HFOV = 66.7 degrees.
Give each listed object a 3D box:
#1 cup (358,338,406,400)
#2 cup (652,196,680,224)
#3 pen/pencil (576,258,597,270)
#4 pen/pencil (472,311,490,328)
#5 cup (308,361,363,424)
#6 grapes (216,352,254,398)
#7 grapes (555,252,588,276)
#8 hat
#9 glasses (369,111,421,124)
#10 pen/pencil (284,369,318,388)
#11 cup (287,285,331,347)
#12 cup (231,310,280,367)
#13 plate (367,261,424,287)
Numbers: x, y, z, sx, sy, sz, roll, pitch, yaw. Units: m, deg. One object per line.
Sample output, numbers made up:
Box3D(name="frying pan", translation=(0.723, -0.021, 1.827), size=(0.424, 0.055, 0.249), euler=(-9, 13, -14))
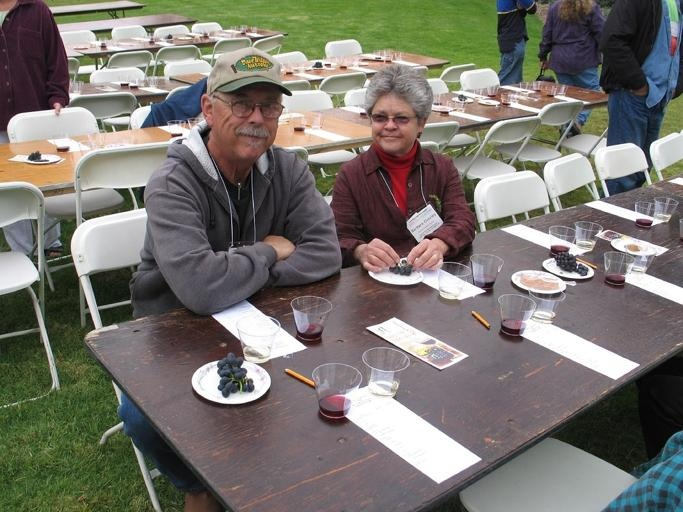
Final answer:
Box3D(name="cup", translation=(0.142, 0.400, 1.837), size=(0.154, 0.114, 0.155), euler=(3, 18, -1))
Box3D(name="cup", translation=(2.122, -0.311, 3.420), size=(0.115, 0.140, 0.179), euler=(22, 34, 34))
Box3D(name="pen/pencil", translation=(1.282, 0.044, 2.724), size=(0.019, 0.023, 0.132), euler=(2, 18, -21))
Box3D(name="pen/pencil", translation=(0.590, 0.268, 2.220), size=(0.027, 0.026, 0.118), euler=(-19, 24, -13))
Box3D(name="cup", translation=(-0.014, 0.435, 1.703), size=(0.157, 0.126, 0.163), euler=(7, 24, -3))
Box3D(name="grapes", translation=(-0.363, 0.395, 1.748), size=(0.117, 0.069, 0.153), euler=(-13, 37, -25))
Box3D(name="grapes", translation=(1.172, 0.030, 2.674), size=(0.079, 0.074, 0.165), euler=(-6, 25, -26))
Box3D(name="hat", translation=(-0.428, -0.806, 2.320), size=(0.228, 0.159, 0.304), euler=(-8, 8, -40))
Box3D(name="glasses", translation=(0.305, -0.803, 3.042), size=(0.277, 0.064, 0.099), euler=(4, 28, 7))
Box3D(name="pen/pencil", translation=(-0.141, 0.427, 1.805), size=(0.146, 0.021, 0.024), euler=(25, 20, 24))
Box3D(name="cup", translation=(-0.120, 0.237, 2.033), size=(0.163, 0.142, 0.171), euler=(4, 18, -1))
Box3D(name="cup", translation=(-0.317, 0.299, 1.938), size=(0.155, 0.120, 0.150), euler=(1, 14, 0))
Box3D(name="plate", translation=(0.268, 0.104, 2.541), size=(0.260, 0.020, 0.151), euler=(1, 27, 0))
